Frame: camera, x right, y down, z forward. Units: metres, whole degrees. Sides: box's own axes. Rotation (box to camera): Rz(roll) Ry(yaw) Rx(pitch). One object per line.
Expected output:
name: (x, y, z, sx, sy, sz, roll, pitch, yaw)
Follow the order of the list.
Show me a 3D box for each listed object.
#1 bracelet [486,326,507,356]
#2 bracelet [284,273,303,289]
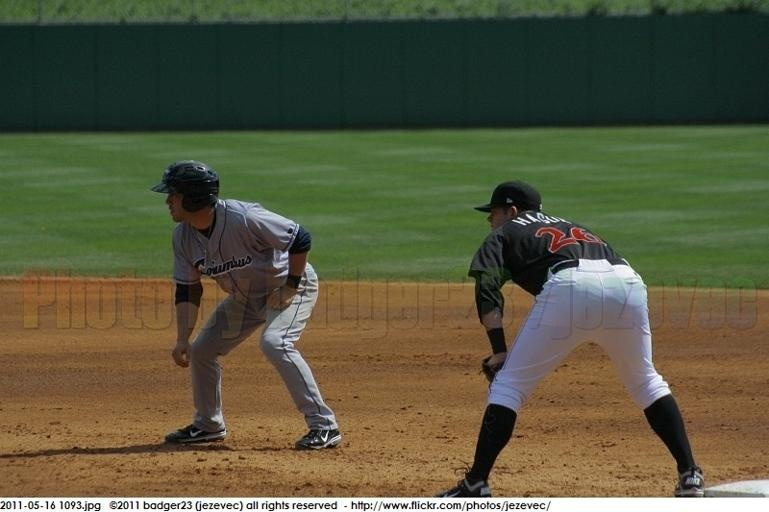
bracelet: (1.876, 1.389, 26.198, 0.315, 0.448, 0.152, -2, 9, 0)
bracelet: (-1.538, 0.430, 27.131, 0.276, 0.222, 0.254, 13, -3, 5)
